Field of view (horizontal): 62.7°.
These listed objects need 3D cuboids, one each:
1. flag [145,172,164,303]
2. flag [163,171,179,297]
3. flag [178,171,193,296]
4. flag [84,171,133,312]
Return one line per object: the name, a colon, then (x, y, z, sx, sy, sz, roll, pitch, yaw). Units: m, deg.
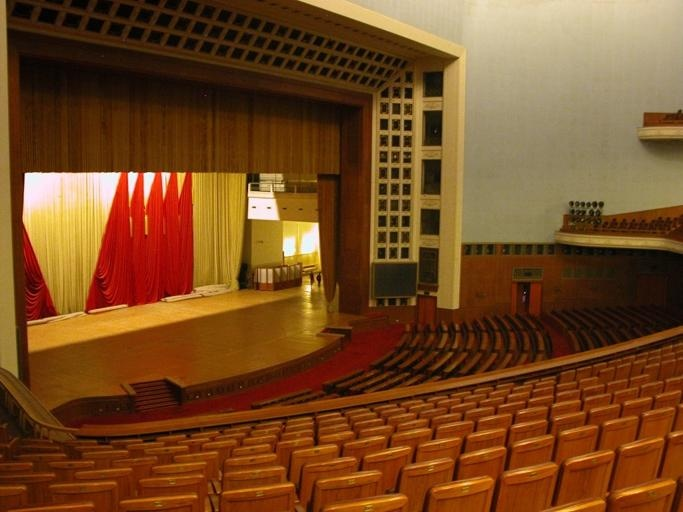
flag: (-6.435, -0.632, 19.252, 0.222, 4.351, 0.827, 6, 11, 31)
flag: (-6.057, -0.742, 19.750, 0.189, 4.278, 0.747, 5, 10, 27)
flag: (-5.631, -0.812, 20.257, 0.189, 4.286, 0.732, 5, 10, 27)
flag: (-7.392, -0.492, 17.929, 0.224, 4.245, 1.500, 6, 11, 32)
